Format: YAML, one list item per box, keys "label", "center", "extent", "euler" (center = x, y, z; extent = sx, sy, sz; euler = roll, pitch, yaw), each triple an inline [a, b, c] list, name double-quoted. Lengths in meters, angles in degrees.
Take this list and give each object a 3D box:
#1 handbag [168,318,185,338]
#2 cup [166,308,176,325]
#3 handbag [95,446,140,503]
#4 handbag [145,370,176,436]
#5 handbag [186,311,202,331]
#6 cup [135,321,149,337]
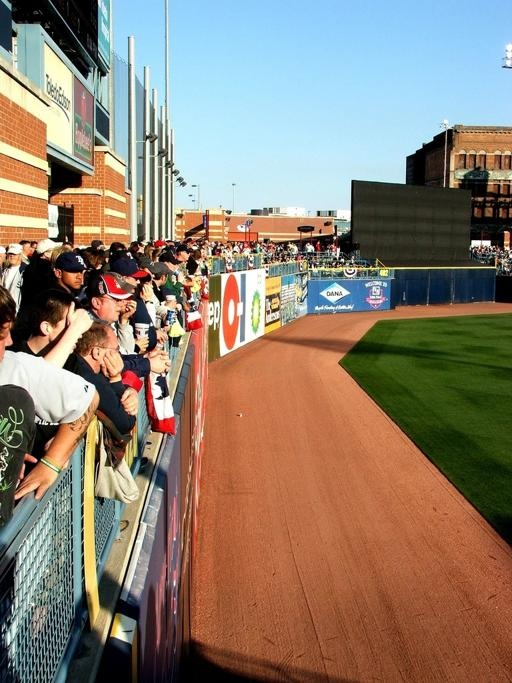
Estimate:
- label: "handbag"
  center: [-1.038, -0.166, 6.196]
  extent: [0.149, 0.302, 0.247]
  euler: [3, 4, 17]
- label: "cup"
  center: [-1.103, -0.314, 6.222]
  extent: [0.103, 0.217, 0.189]
  euler: [3, -5, 11]
- label: "handbag"
  center: [-0.565, 0.508, 1.974]
  extent: [0.144, 0.273, 0.186]
  euler: [3, -2, 0]
- label: "handbag"
  center: [-0.710, 0.463, 3.619]
  extent: [0.171, 0.660, 0.090]
  euler: [1, 35, 3]
- label: "handbag"
  center: [-1.099, -0.355, 8.412]
  extent: [0.139, 0.359, 0.325]
  euler: [2, 12, 21]
- label: "cup"
  center: [-1.120, -0.128, 4.745]
  extent: [0.116, 0.156, 0.125]
  euler: [2, 10, 0]
